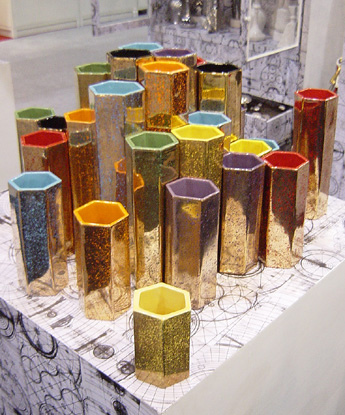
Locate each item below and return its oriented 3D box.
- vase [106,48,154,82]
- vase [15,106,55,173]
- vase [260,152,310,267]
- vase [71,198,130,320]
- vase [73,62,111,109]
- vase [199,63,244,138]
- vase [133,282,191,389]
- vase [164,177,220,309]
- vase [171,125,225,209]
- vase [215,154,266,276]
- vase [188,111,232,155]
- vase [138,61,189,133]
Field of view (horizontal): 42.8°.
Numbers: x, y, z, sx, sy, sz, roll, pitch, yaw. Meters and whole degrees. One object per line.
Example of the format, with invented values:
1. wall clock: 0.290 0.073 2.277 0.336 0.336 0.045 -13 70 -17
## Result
1. vase: -0.069 -0.226 0.696 0.059 0.043 0.064 -17 39 -30
2. vase: -0.244 -0.114 0.790 0.064 0.107 0.061 -18 33 -41
3. vase: 0.177 0.015 0.701 0.071 0.185 0.054 1 23 7
4. vase: -0.101 0.070 0.616 0.076 0.164 0.133 -9 25 -17
5. vase: -0.137 -0.208 0.786 0.052 0.060 0.050 -3 12 -19
6. vase: 0.089 -0.182 0.781 0.064 0.149 0.158 7 26 20
7. vase: -0.011 0.148 0.491 0.069 0.099 0.061 -22 31 -40
8. vase: 0.028 0.062 0.604 0.068 0.195 0.067 1 24 7
9. vase: 0.036 -0.068 0.655 0.085 0.131 0.081 -6 35 -5
10. vase: 0.106 0.016 0.688 0.068 0.202 0.082 3 24 12
11. vase: 0.052 -0.140 0.726 0.073 0.082 0.069 -3 41 -4
12. vase: -0.012 -0.150 0.614 0.066 0.073 0.058 -28 45 -31
